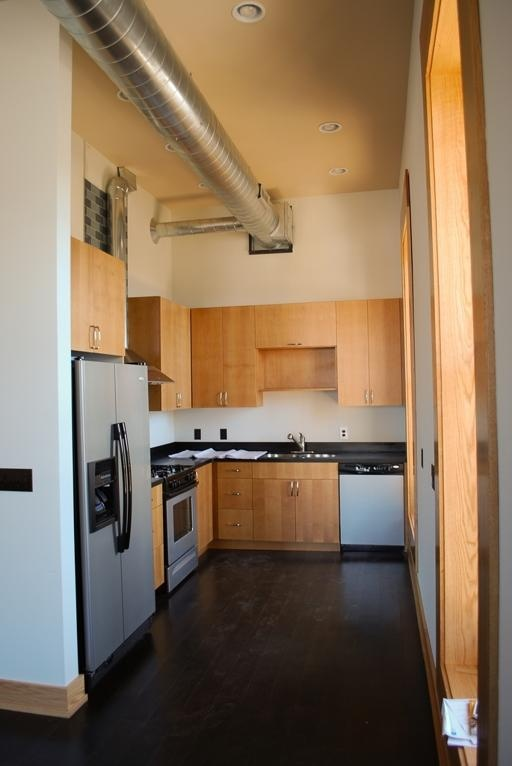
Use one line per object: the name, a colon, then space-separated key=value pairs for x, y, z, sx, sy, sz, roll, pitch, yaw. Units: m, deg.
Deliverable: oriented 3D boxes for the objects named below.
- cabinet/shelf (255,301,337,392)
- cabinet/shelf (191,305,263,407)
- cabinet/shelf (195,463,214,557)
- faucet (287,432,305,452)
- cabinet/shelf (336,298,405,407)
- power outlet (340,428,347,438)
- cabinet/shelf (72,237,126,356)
cabinet/shelf: x=0.391 y=-0.339 z=5.147 sx=0.653 sy=0.991 sz=0.290 roll=-1 pitch=16 yaw=4
cabinet/shelf: x=-0.261 y=-0.242 z=5.140 sx=0.639 sy=1.365 sz=0.429 roll=-1 pitch=-1 yaw=4
cabinet/shelf: x=-0.460 y=1.142 z=4.873 sx=0.202 sy=0.553 sz=0.358 roll=7 pitch=-26 yaw=-9
faucet: x=0.382 y=0.563 z=5.239 sx=0.171 sy=0.176 sz=0.096 roll=-2 pitch=-1 yaw=5
cabinet/shelf: x=1.010 y=-0.148 z=4.990 sx=0.558 sy=1.199 sz=0.408 roll=0 pitch=-37 yaw=11
power outlet: x=0.819 y=0.465 z=5.160 sx=0.064 sy=0.165 sz=0.014 roll=-1 pitch=0 yaw=11
cabinet/shelf: x=-0.882 y=-0.455 z=3.092 sx=0.218 sy=0.691 sz=0.673 roll=1 pitch=0 yaw=8
